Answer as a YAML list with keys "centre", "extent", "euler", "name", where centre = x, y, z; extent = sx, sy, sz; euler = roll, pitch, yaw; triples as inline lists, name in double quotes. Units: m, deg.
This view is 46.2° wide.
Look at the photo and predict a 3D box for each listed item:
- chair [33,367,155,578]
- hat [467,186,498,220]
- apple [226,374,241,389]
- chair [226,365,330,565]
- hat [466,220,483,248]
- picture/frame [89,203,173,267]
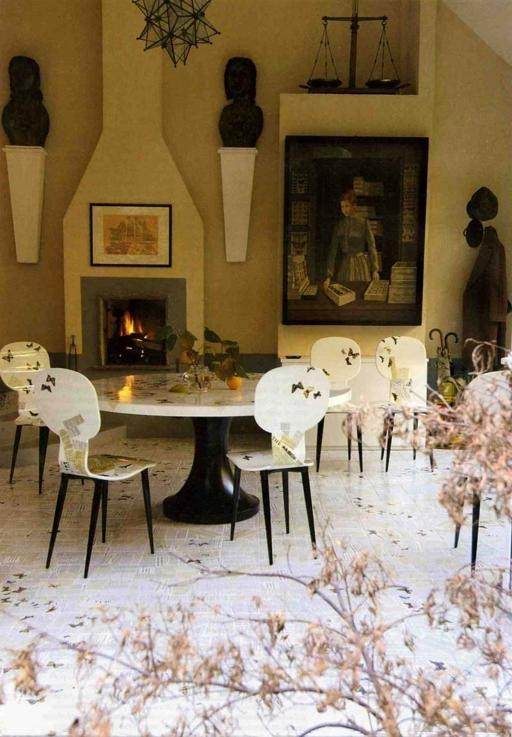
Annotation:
- centre: [-0.680, 0.407, 2.545]
  extent: [0.387, 0.859, 0.420]
  euler: [3, 4, 36]
  name: "chair"
- centre: [1.887, -1.367, 4.982]
  extent: [0.260, 0.265, 0.188]
  euler: [0, 3, 0]
  name: "hat"
- centre: [-0.115, 0.073, 3.112]
  extent: [0.069, 0.081, 0.071]
  euler: [-9, 13, -32]
  name: "apple"
- centre: [0.094, 0.400, 2.716]
  extent: [0.443, 0.840, 0.618]
  euler: [0, 3, -3]
  name: "chair"
- centre: [1.839, -1.142, 5.070]
  extent: [0.149, 0.240, 0.067]
  euler: [1, 3, 18]
  name: "hat"
- centre: [-1.122, -1.204, 5.286]
  extent: [0.556, 0.417, 0.022]
  euler: [1, 7, -2]
  name: "picture/frame"
